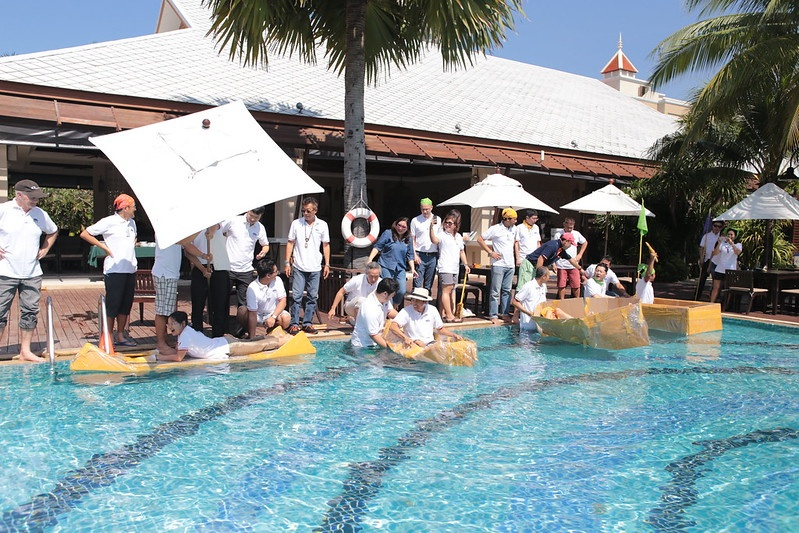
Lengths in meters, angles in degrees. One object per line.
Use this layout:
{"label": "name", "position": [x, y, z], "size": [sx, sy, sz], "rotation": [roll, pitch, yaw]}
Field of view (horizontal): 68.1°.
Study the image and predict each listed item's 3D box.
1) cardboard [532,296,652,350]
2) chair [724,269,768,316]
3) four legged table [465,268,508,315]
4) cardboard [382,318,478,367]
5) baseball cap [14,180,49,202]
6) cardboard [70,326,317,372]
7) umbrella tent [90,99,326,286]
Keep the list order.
{"label": "cardboard", "position": [3.774, 1.329, 11.831], "size": [1.286, 0.625, 1.619], "rotation": [-7, -1, -30]}
{"label": "chair", "position": [8.746, 0.684, 14.946], "size": [1.082, 1.438, 0.973], "rotation": [-6, 7, -33]}
{"label": "four legged table", "position": [2.032, 0.626, 14.789], "size": [1.064, 1.033, 1.054], "rotation": [0, 2, -41]}
{"label": "cardboard", "position": [0.540, 1.480, 10.506], "size": [1.220, 0.600, 0.914], "rotation": [1, 0, 39]}
{"label": "baseball cap", "position": [-5.901, -1.235, 9.396], "size": [0.475, 0.273, 0.310], "rotation": [3, 9, -5]}
{"label": "cardboard", "position": [-3.425, 1.494, 9.779], "size": [3.616, 0.529, 0.351], "rotation": [0, -1, -22]}
{"label": "umbrella tent", "position": [-3.059, -1.552, 9.106], "size": [2.820, 2.805, 0.944], "rotation": [-29, -16, -32]}
